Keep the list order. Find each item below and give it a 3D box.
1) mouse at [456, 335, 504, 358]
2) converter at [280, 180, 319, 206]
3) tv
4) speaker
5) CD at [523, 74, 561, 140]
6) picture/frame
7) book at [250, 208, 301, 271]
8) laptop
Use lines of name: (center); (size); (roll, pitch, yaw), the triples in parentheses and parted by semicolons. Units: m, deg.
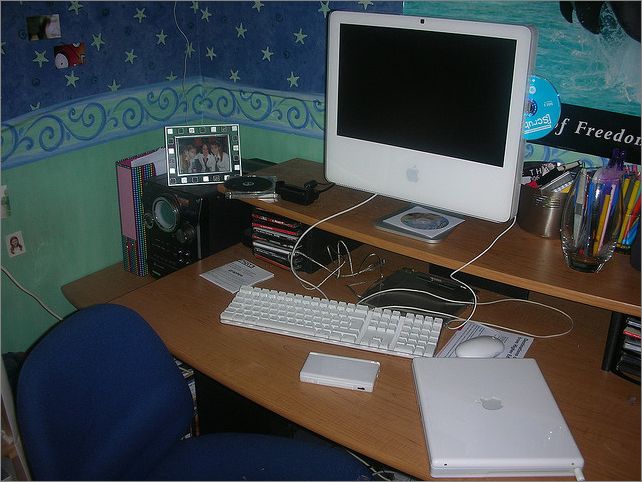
mouse: (0.404, 0.270, 1.333); (0.085, 0.025, 0.057); (-7, 31, 11)
converter: (-0.058, -0.160, 1.636); (0.110, 0.062, 0.080); (18, 37, 32)
tv: (0.307, -0.341, 1.411); (0.549, 0.498, 0.068); (20, 30, 39)
speaker: (-0.426, -0.105, 1.972); (0.386, 0.356, 0.354); (-19, 31, -36)
CD: (0.631, -0.381, 1.527); (0.178, 0.177, 0.034); (-10, 9, -33)
picture/frame: (-0.418, -0.298, 1.859); (0.233, 0.180, 0.027); (-7, 12, -14)
book: (-0.137, -0.006, 1.684); (0.193, 0.121, 0.228); (13, 22, 32)
laptop: (0.389, 0.393, 1.191); (0.327, 0.089, 0.309); (1, 24, -2)
